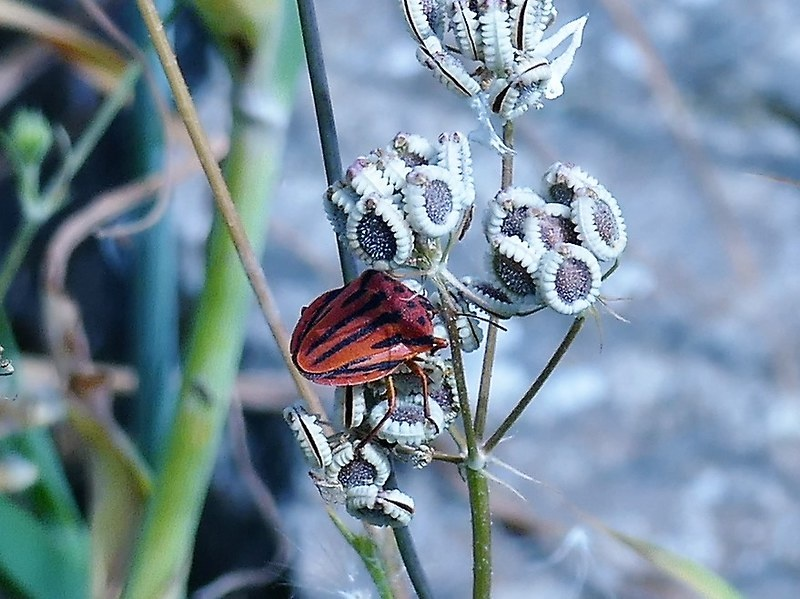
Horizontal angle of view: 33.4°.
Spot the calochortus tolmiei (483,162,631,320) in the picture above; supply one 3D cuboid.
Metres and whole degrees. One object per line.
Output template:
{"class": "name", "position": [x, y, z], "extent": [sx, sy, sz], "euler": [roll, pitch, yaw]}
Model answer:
{"class": "calochortus tolmiei", "position": [0.124, -0.031, 1.001], "extent": [0.095, 0.040, 0.121], "euler": [-16, 91, -17]}

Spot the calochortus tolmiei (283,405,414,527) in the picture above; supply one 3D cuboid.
{"class": "calochortus tolmiei", "position": [-0.044, 0.127, 1.024], "extent": [0.070, 0.046, 0.117], "euler": [-13, 95, 18]}

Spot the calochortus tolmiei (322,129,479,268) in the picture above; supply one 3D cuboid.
{"class": "calochortus tolmiei", "position": [-0.002, -0.074, 0.987], "extent": [0.083, 0.057, 0.113], "euler": [-9, 43, 29]}
